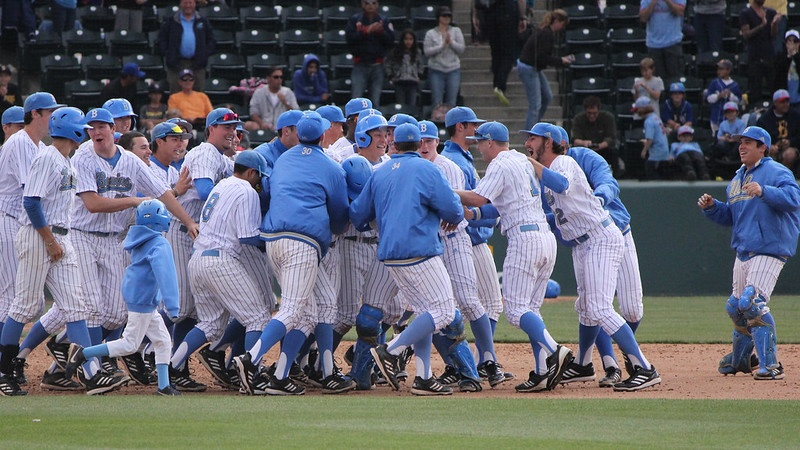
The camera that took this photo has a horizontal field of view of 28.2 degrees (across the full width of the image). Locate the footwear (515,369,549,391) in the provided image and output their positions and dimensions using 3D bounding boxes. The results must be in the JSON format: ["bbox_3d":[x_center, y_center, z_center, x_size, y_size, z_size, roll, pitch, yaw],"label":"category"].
[{"bbox_3d":[2.135,2.552,26.078,0.531,0.343,0.209,-1,1,5],"label":"footwear"}]

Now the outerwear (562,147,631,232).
[{"bbox_3d":[3.183,-0.572,26.971,1.221,1.779,0.961,-6,-15,12],"label":"outerwear"}]

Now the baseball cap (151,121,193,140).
[{"bbox_3d":[-3.886,-1.600,26.925,0.575,0.235,0.376,-4,6,-8],"label":"baseball cap"}]

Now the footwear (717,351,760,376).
[{"bbox_3d":[5.648,2.312,26.806,0.749,0.320,0.292,-4,-2,-12],"label":"footwear"}]

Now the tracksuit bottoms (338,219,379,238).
[{"bbox_3d":[-0.675,0.076,26.258,0.504,0.279,0.510,8,-1,1],"label":"tracksuit bottoms"}]

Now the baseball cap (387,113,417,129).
[{"bbox_3d":[0.018,-1.722,26.298,0.392,0.161,0.275,5,10,34],"label":"baseball cap"}]

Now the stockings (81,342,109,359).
[{"bbox_3d":[-4.885,2.022,25.649,0.440,0.268,0.306,-1,1,-3],"label":"stockings"}]

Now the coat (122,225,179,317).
[{"bbox_3d":[-4.168,0.697,25.896,0.687,1.468,1.603,9,-7,-33],"label":"coat"}]

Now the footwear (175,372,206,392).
[{"bbox_3d":[-3.370,2.579,26.121,0.602,0.250,0.218,1,2,2],"label":"footwear"}]

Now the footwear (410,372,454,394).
[{"bbox_3d":[0.505,2.574,25.857,0.659,0.332,0.171,-1,1,-1],"label":"footwear"}]

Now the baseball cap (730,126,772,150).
[{"bbox_3d":[5.957,-1.435,26.833,0.541,0.271,0.373,13,3,-6],"label":"baseball cap"}]

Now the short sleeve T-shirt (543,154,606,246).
[{"bbox_3d":[2.849,-0.399,26.266,0.640,1.075,1.098,-33,-3,-31],"label":"short sleeve T-shirt"}]

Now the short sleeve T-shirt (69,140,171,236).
[{"bbox_3d":[-4.538,-0.595,26.228,1.632,1.514,0.919,-4,-8,30],"label":"short sleeve T-shirt"}]

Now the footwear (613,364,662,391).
[{"bbox_3d":[3.953,2.510,26.260,0.851,0.377,0.329,-7,5,-19],"label":"footwear"}]

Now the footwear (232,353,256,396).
[{"bbox_3d":[-2.464,2.347,25.613,0.338,0.728,0.248,-29,32,-9],"label":"footwear"}]

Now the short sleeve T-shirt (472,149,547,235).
[{"bbox_3d":[1.832,-0.599,26.454,0.877,1.353,1.601,1,16,36],"label":"short sleeve T-shirt"}]

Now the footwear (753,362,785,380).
[{"bbox_3d":[6.156,2.436,26.718,0.456,0.299,0.235,4,-1,4],"label":"footwear"}]

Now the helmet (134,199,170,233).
[{"bbox_3d":[-3.983,-0.165,25.643,0.451,0.445,0.564,7,19,1],"label":"helmet"}]

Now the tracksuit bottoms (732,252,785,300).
[{"bbox_3d":[5.977,0.871,26.978,0.575,0.837,0.964,5,-5,-27],"label":"tracksuit bottoms"}]

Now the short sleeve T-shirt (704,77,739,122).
[{"bbox_3d":[6.822,-2.642,33.590,0.769,0.866,0.505,5,9,20],"label":"short sleeve T-shirt"}]

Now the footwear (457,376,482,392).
[{"bbox_3d":[1.135,2.601,26.200,0.301,0.187,0.237,2,-1,2],"label":"footwear"}]

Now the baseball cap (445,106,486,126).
[{"bbox_3d":[1.031,-1.847,26.776,0.521,0.259,0.330,1,10,-2],"label":"baseball cap"}]

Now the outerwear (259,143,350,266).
[{"bbox_3d":[-1.571,-0.275,25.869,1.539,1.808,1.116,11,-12,7],"label":"outerwear"}]

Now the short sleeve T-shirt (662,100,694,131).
[{"bbox_3d":[5.778,-2.202,33.336,0.700,0.799,0.437,-2,16,0],"label":"short sleeve T-shirt"}]

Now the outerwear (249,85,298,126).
[{"bbox_3d":[-2.611,-2.405,33.366,0.956,1.061,0.613,-6,-3,15],"label":"outerwear"}]

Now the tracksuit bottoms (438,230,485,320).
[{"bbox_3d":[0.970,0.821,26.629,0.586,1.858,0.824,-15,15,-16],"label":"tracksuit bottoms"}]

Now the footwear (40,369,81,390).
[{"bbox_3d":[-5.599,2.543,26.146,0.800,0.354,0.262,1,0,-9],"label":"footwear"}]

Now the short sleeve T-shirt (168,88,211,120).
[{"bbox_3d":[-4.291,-2.403,32.556,0.850,0.292,0.829,10,-13,-4],"label":"short sleeve T-shirt"}]

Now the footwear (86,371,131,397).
[{"bbox_3d":[-4.780,2.534,25.826,0.891,0.369,0.301,-8,1,6],"label":"footwear"}]

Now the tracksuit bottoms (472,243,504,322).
[{"bbox_3d":[1.444,0.953,26.911,0.501,1.567,0.444,-10,-18,32],"label":"tracksuit bottoms"}]

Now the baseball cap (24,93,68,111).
[{"bbox_3d":[-5.921,-2.031,26.332,0.521,0.212,0.335,-1,4,-5],"label":"baseball cap"}]

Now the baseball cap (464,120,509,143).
[{"bbox_3d":[1.478,-1.562,26.533,0.525,0.214,0.366,4,7,10],"label":"baseball cap"}]

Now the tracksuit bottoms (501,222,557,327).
[{"bbox_3d":[2.092,0.814,26.261,0.867,1.662,0.519,-2,1,-13],"label":"tracksuit bottoms"}]

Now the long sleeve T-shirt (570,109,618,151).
[{"bbox_3d":[3.958,-1.926,32.882,1.015,0.795,0.723,3,18,17],"label":"long sleeve T-shirt"}]

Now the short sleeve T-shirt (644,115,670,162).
[{"bbox_3d":[5.280,-1.795,33.127,0.501,1.158,0.866,-2,5,18],"label":"short sleeve T-shirt"}]

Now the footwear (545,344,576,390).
[{"bbox_3d":[2.580,2.272,25.987,0.424,0.838,0.290,18,38,4],"label":"footwear"}]

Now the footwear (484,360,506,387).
[{"bbox_3d":[1.543,2.450,26.500,0.305,0.437,0.216,-2,1,-8],"label":"footwear"}]

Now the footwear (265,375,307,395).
[{"bbox_3d":[-1.889,2.602,25.914,0.726,0.323,0.251,2,-5,-8],"label":"footwear"}]

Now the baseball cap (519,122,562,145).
[{"bbox_3d":[2.370,-1.499,26.467,0.562,0.266,0.354,11,3,-7],"label":"baseball cap"}]

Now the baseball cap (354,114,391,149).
[{"bbox_3d":[-0.513,-1.562,26.326,0.570,0.546,0.318,-1,1,15],"label":"baseball cap"}]

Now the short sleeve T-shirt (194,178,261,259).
[{"bbox_3d":[-2.767,-0.082,25.934,0.792,1.052,1.090,2,13,-40],"label":"short sleeve T-shirt"}]

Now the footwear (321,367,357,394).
[{"bbox_3d":[-1.054,2.553,26.004,0.618,0.326,0.297,-5,-3,23],"label":"footwear"}]

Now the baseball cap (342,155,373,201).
[{"bbox_3d":[-0.756,-0.775,26.197,0.486,0.682,0.361,2,-25,-31],"label":"baseball cap"}]

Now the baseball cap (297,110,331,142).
[{"bbox_3d":[-1.472,-1.590,25.994,0.431,0.515,0.227,-2,1,-4],"label":"baseball cap"}]

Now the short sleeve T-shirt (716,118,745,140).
[{"bbox_3d":[6.654,-1.944,32.165,0.563,0.291,0.754,-2,22,25],"label":"short sleeve T-shirt"}]
